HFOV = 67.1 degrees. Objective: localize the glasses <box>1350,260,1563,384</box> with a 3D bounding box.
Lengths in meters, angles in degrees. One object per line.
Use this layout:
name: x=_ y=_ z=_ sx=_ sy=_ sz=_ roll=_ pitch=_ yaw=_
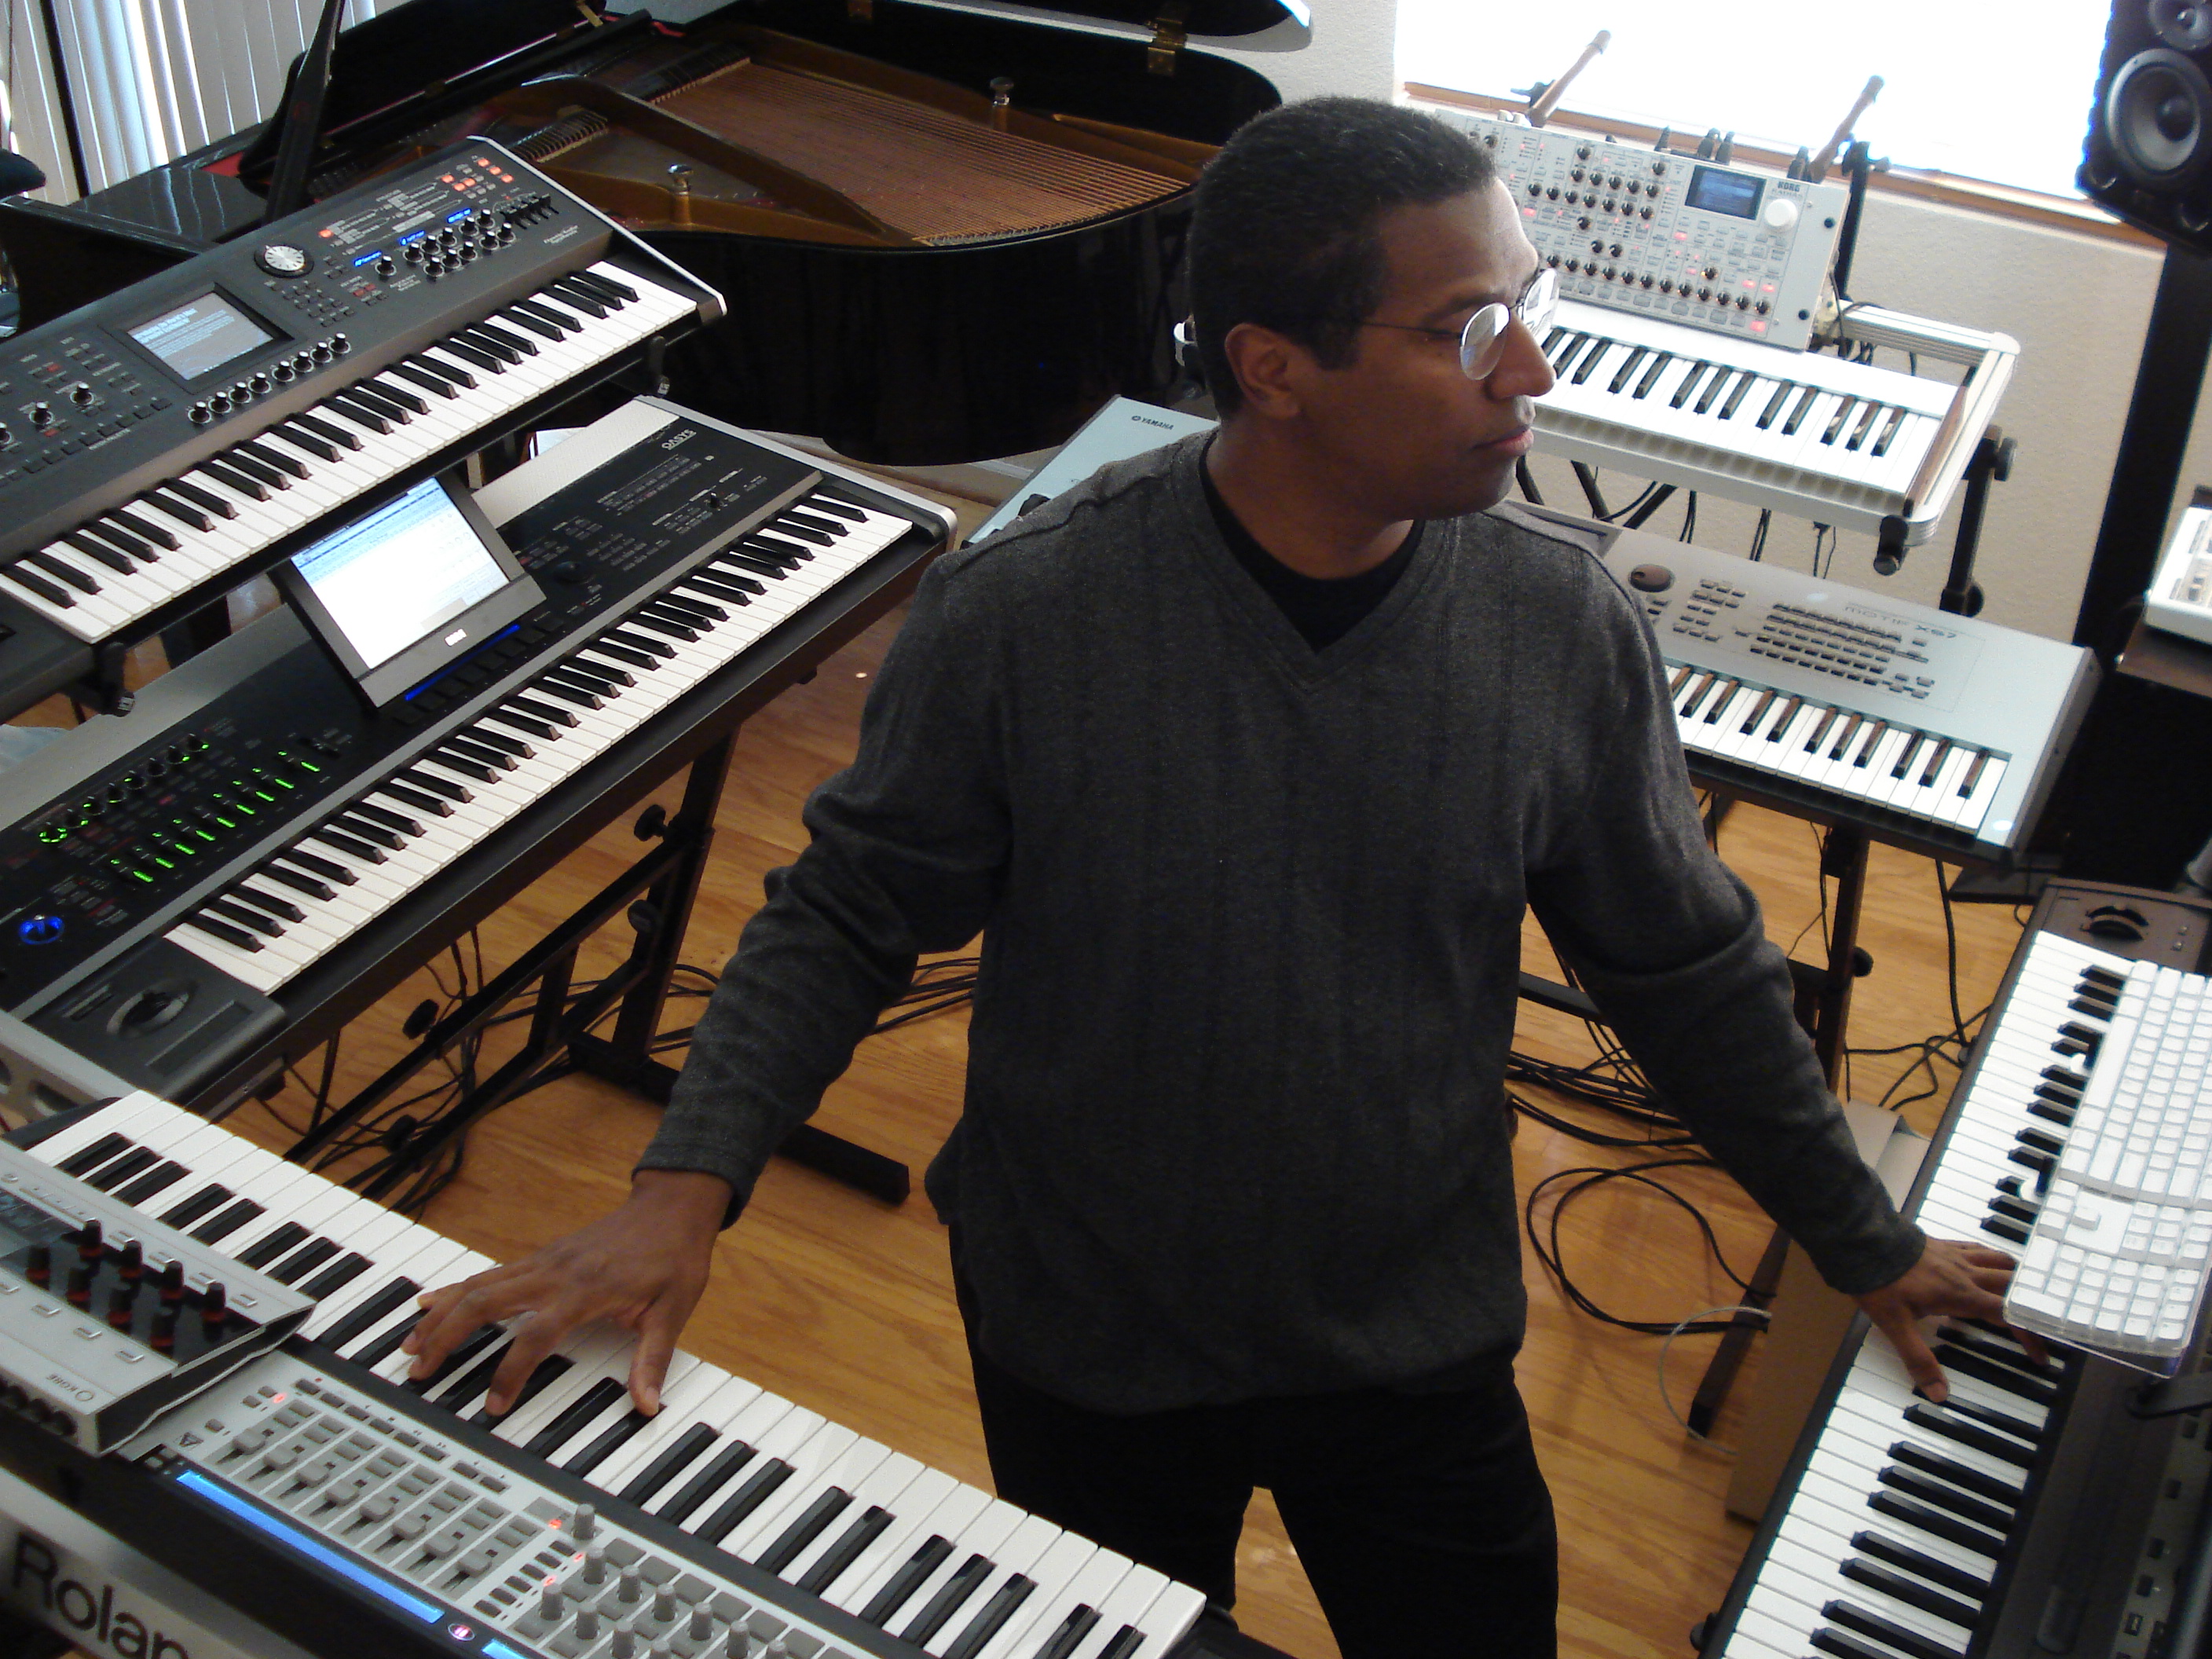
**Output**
glasses: x=0.301 y=-0.465 z=1.545 sx=0.197 sy=0.173 sz=0.053 roll=17 pitch=-49 yaw=25
